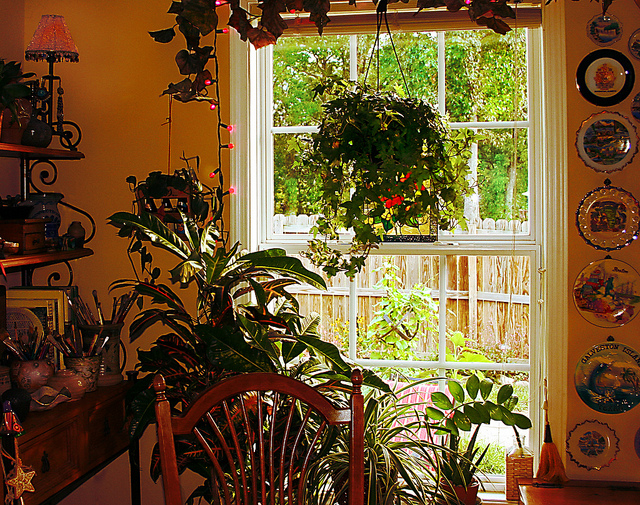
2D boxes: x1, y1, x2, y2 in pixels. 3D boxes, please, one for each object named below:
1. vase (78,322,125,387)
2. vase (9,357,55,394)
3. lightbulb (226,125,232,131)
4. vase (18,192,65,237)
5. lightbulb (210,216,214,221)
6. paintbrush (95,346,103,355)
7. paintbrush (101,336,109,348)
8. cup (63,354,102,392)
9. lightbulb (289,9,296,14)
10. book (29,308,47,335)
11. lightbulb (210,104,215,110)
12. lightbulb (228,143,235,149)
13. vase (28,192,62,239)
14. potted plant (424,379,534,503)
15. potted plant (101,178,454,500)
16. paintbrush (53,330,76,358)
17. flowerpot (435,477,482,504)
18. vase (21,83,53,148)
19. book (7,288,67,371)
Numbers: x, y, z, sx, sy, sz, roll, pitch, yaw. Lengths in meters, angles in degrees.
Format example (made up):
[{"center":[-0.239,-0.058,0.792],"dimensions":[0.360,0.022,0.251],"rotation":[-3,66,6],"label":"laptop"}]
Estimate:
[{"center":[-0.943,0.448,3.598],"dimensions":[0.227,0.327,0.240],"rotation":[-1,0,-4],"label":"vase"},{"center":[-1.185,0.502,3.323],"dimensions":[0.118,0.120,0.135],"rotation":[0,-6,8],"label":"vase"},{"center":[-0.420,-0.574,3.742],"dimensions":[0.016,0.029,0.040],"rotation":[-2,14,-21],"label":"lightbulb"},{"center":[-1.232,-0.174,3.656],"dimensions":[0.191,0.289,0.145],"rotation":[-1,1,0],"label":"vase"},{"center":[-0.505,-0.157,3.766],"dimensions":[0.020,0.028,0.012],"rotation":[0,0,-1],"label":"lightbulb"},{"center":[-0.971,0.430,3.565],"dimensions":[0.013,0.051,0.010],"rotation":[17,-12,31],"label":"paintbrush"},{"center":[-0.946,0.394,3.574],"dimensions":[0.013,0.052,0.005],"rotation":[27,-3,-41],"label":"paintbrush"},{"center":[-1.022,0.507,3.467],"dimensions":[0.142,0.157,0.140],"rotation":[0,-2,0],"label":"cup"},{"center":[-0.082,-0.724,2.444],"dimensions":[0.012,0.013,0.008],"rotation":[4,-8,-25],"label":"lightbulb"},{"center":[-1.234,0.291,3.557],"dimensions":[0.078,0.076,0.054],"rotation":[-1,-40,-4],"label":"book"},{"center":[-0.495,-0.668,3.735],"dimensions":[0.026,0.031,0.016],"rotation":[-1,3,-11],"label":"lightbulb"},{"center":[-0.413,-0.492,3.756],"dimensions":[0.019,0.021,0.019],"rotation":[-1,-1,-15],"label":"lightbulb"},{"center":[-1.240,-0.184,3.646],"dimensions":[0.149,0.229,0.079],"rotation":[14,-43,-21],"label":"vase"},{"center":[0.696,0.831,3.539],"dimensions":[0.489,0.583,0.311],"rotation":[1,7,32],"label":"potted plant"},{"center":[-0.376,0.531,3.540],"dimensions":[1.048,1.899,1.212],"rotation":[0,10,-13],"label":"potted plant"},{"center":[-1.104,0.390,3.512],"dimensions":[0.027,0.125,0.018],"rotation":[-27,12,19],"label":"paintbrush"},{"center":[0.581,0.987,3.398],"dimensions":[0.116,0.103,0.122],"rotation":[-1,2,21],"label":"flowerpot"},{"center":[-1.252,-0.603,3.567],"dimensions":[0.154,0.338,0.132],"rotation":[3,19,-8],"label":"vase"},{"center":[-1.229,0.328,3.493],"dimensions":[0.299,0.478,0.044],"rotation":[-1,-4,-5],"label":"book"}]
